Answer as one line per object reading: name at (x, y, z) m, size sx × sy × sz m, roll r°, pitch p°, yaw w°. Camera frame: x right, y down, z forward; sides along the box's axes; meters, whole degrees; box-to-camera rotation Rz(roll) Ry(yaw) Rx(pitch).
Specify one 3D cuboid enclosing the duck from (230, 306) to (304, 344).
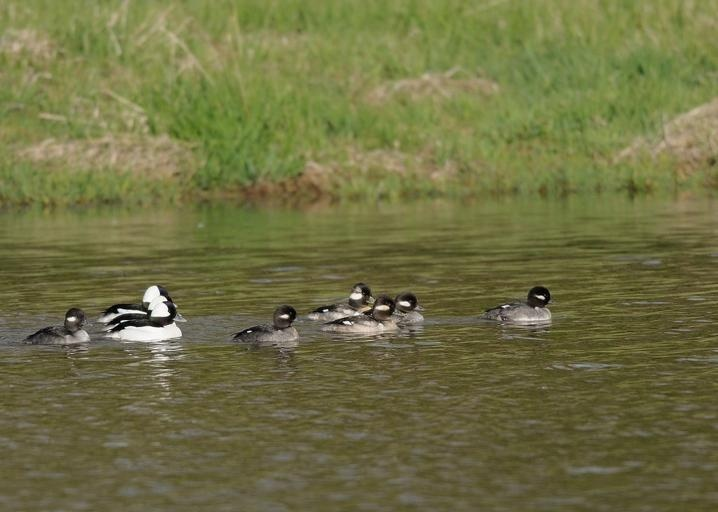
duck at (-1.827, 1.433, 17.699) m, size 1.539 × 0.877 × 0.821 m, roll 1°, pitch 6°, yaw 26°

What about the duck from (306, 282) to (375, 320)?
duck at (-0.362, 1.050, 19.125) m, size 1.661 × 0.853 × 0.808 m, roll 1°, pitch 10°, yaw 15°

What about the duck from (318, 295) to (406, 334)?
duck at (-0.005, 1.280, 18.396) m, size 1.751 × 0.801 × 0.839 m, roll 2°, pitch 10°, yaw -3°

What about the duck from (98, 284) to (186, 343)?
duck at (-4.169, 1.259, 17.589) m, size 1.649 × 0.659 × 0.810 m, roll -1°, pitch 5°, yaw 0°
